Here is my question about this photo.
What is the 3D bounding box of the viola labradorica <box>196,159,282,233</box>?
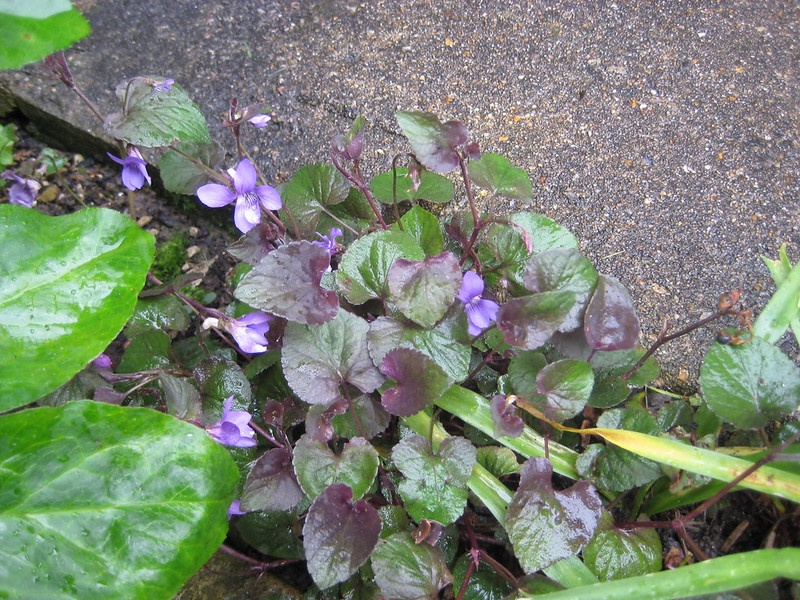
[{"bbox_3d":[-0.529,-0.333,2.304,0.234,0.150,0.171,-33,76,-16],"label":"viola labradorica"}]

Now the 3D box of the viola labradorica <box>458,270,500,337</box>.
[{"bbox_3d":[0.260,0.010,2.344,0.126,0.055,0.224,-6,102,14],"label":"viola labradorica"}]

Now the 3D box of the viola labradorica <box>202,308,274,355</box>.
[{"bbox_3d":[-0.527,0.101,2.304,0.206,0.128,0.121,17,102,3],"label":"viola labradorica"}]
